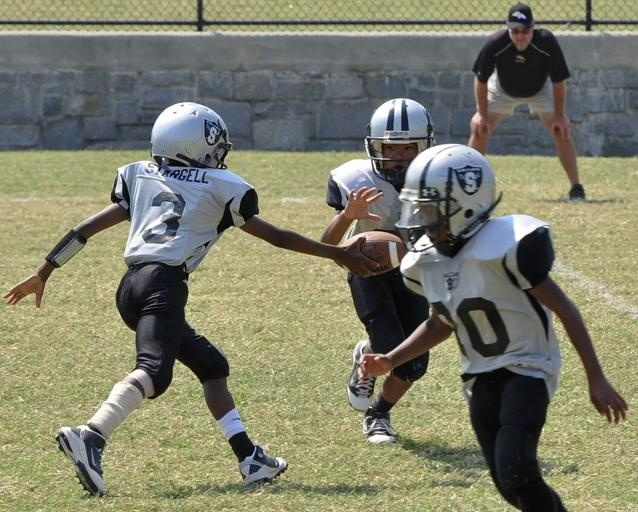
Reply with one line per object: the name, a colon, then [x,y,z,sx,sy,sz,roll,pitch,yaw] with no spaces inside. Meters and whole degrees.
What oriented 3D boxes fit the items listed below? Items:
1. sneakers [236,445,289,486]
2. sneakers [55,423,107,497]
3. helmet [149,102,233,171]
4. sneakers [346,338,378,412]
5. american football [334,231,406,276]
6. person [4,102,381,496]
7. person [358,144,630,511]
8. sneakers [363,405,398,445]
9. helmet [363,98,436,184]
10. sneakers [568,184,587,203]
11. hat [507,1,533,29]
sneakers: [-0.294,1.084,5.850,0.336,0.162,0.125,-8,1,-35]
sneakers: [-1.189,1.030,5.618,0.243,0.368,0.148,1,7,-10]
helmet: [-0.710,-0.651,6.113,0.519,0.309,0.338,-7,19,-26]
sneakers: [0.242,0.688,6.524,0.175,0.420,0.175,12,-41,-16]
american football: [0.349,-0.022,6.278,0.420,0.212,0.255,-6,19,34]
person: [-0.748,0.174,6.028,1.488,1.998,0.784,-1,8,-25]
person: [0.869,0.311,5.306,0.466,1.654,0.981,-4,10,-41]
sneakers: [0.330,0.952,6.173,0.130,0.102,0.279,1,6,-9]
helmet: [0.447,-0.684,6.440,0.505,0.425,0.525,0,11,6]
sneakers: [2.265,-0.559,9.879,0.215,0.158,0.114,0,-1,8]
hat: [1.756,-2.105,9.810,0.205,0.235,0.224,4,7,14]
